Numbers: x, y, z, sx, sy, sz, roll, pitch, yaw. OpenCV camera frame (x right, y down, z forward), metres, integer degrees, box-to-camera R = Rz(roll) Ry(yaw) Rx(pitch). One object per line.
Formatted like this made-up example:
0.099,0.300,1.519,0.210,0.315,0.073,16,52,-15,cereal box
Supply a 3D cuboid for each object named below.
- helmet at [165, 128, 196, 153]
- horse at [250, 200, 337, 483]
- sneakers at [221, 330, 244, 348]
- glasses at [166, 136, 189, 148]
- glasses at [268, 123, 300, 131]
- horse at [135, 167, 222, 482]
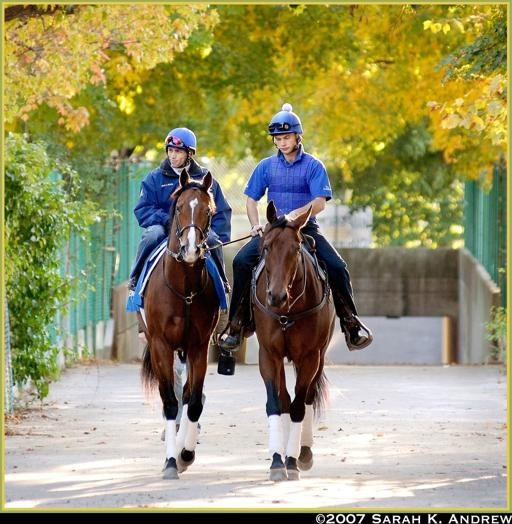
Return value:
-0.787,-1.284,13.392,0.201,0.227,0.267,3,-11,16,helmet
0.354,0.757,12.730,0.782,2.663,1.836,-2,-2,5,horse
-0.264,0.802,13.372,0.255,0.189,0.232,-2,-2,-8,sneakers
-0.822,-1.216,13.345,0.110,0.065,0.156,12,-4,24,glasses
0.284,-1.339,13.006,0.329,0.096,0.124,-2,-2,-8,glasses
-0.778,0.599,13.059,0.735,2.975,1.779,-2,-2,-5,horse
